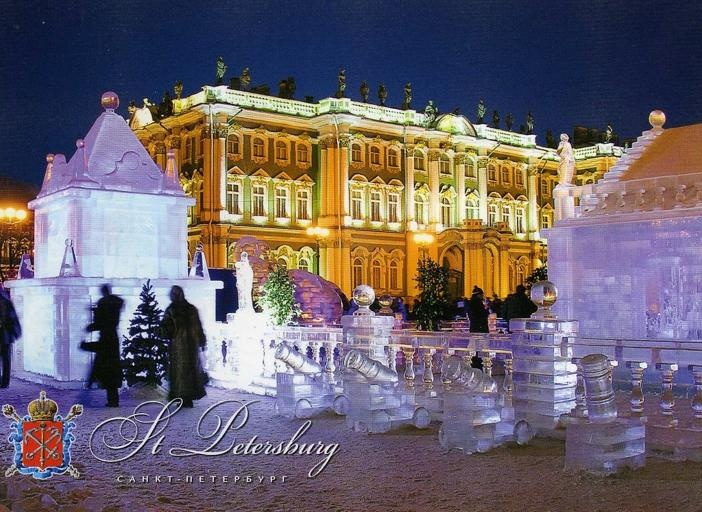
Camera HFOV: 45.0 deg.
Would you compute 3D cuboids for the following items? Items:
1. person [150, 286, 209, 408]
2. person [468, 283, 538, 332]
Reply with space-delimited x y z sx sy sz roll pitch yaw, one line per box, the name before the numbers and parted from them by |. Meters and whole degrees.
person | -2.552 1.420 12.794 0.496 1.857 0.766 1 8 29
person | 3.074 1.131 17.704 1.164 0.701 1.157 -1 -2 9
